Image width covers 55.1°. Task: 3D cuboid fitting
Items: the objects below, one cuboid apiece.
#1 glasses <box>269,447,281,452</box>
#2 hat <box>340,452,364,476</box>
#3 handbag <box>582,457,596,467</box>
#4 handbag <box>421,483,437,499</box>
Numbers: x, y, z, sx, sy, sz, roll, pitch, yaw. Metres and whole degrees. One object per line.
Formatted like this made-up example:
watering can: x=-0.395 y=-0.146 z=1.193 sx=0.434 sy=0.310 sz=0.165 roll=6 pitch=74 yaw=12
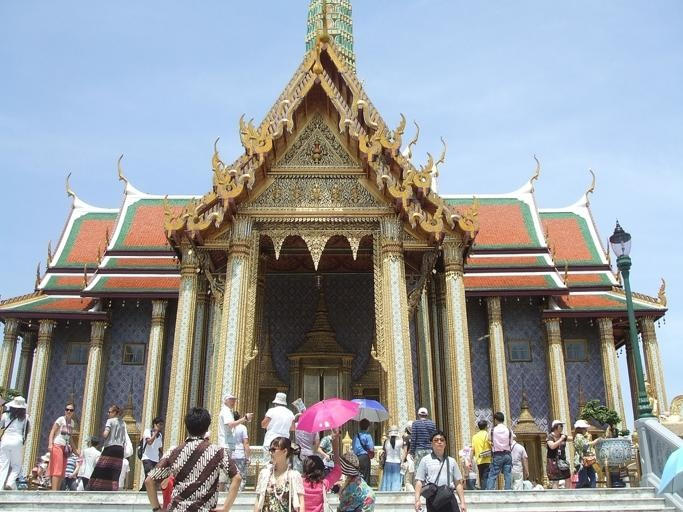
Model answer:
glasses: x=-0.623 y=1.749 z=5.941 sx=0.063 sy=0.025 sz=0.061 roll=23 pitch=-24 yaw=-29
hat: x=0.084 y=2.160 z=6.727 sx=0.207 sy=0.106 sz=0.227 roll=25 pitch=9 yaw=-32
handbag: x=3.831 y=3.194 z=10.248 sx=0.153 sy=0.091 sz=0.201 roll=-1 pitch=-22 yaw=0
handbag: x=0.899 y=2.424 z=6.788 sx=0.127 sy=0.163 sz=0.069 roll=39 pitch=4 yaw=22
